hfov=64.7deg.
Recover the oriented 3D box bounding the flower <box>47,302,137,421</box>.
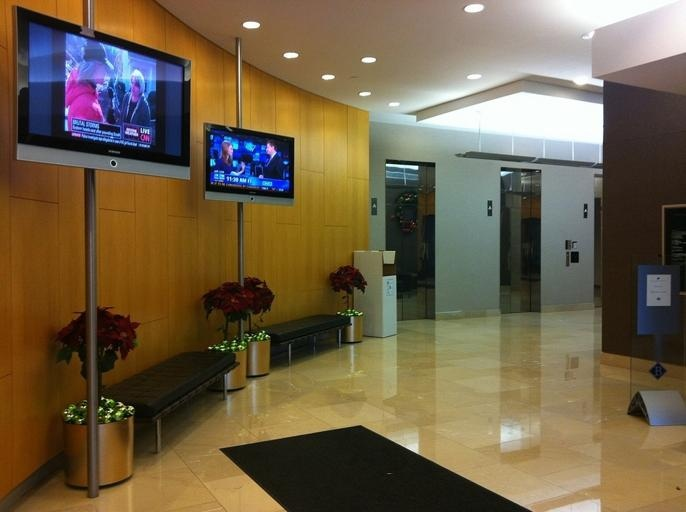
[{"bbox_3d":[-2.021,0.850,4.390,0.672,0.874,0.548,0,3,-7],"label":"flower"}]

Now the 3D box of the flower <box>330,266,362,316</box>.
[{"bbox_3d":[0.117,0.598,9.330,0.588,0.832,0.821,1,4,23],"label":"flower"}]

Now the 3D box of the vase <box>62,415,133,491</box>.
[{"bbox_3d":[-1.999,1.548,4.388,0.440,0.476,0.445,1,-1,-21],"label":"vase"}]

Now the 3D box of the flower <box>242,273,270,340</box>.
[{"bbox_3d":[-1.203,0.673,7.008,0.419,0.625,0.468,0,12,10],"label":"flower"}]

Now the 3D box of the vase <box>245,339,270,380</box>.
[{"bbox_3d":[-1.070,1.352,7.171,0.387,0.446,0.412,-8,-11,29],"label":"vase"}]

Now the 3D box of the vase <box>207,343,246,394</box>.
[{"bbox_3d":[-1.286,1.328,6.417,0.510,0.577,0.512,0,0,-7],"label":"vase"}]

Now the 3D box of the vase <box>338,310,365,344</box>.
[{"bbox_3d":[0.141,1.239,9.282,0.432,0.482,0.419,0,0,-40],"label":"vase"}]

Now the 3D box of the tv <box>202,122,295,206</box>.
[{"bbox_3d":[-1.187,-1.102,6.701,1.159,0.782,0.097,-2,6,-44],"label":"tv"}]

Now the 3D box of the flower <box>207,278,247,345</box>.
[{"bbox_3d":[-1.426,0.621,6.642,0.658,0.801,0.754,1,3,-20],"label":"flower"}]
